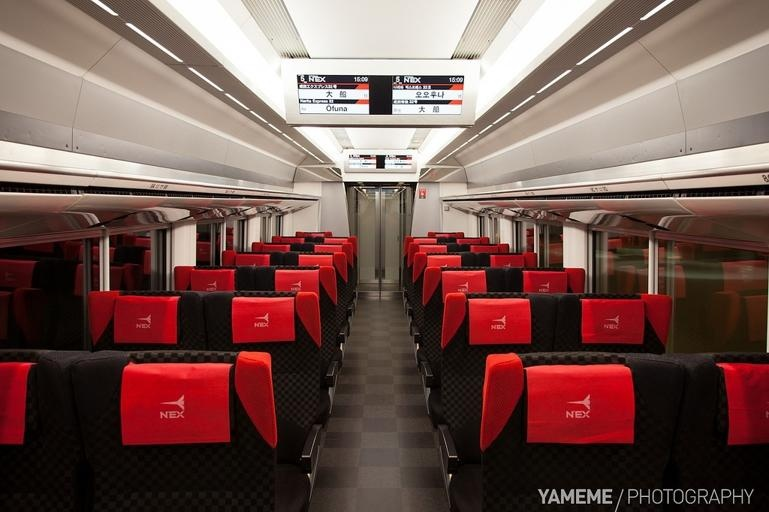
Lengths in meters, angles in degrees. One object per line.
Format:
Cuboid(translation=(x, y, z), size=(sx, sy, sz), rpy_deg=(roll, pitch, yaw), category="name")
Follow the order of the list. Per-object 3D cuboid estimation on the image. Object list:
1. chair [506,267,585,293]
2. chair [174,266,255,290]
Cuboid(translation=(2.062, 0.305, 5.833), size=(0.602, 0.507, 0.333), rpy_deg=(-1, -2, 2), category="chair")
Cuboid(translation=(-2.181, 0.280, 5.963), size=(0.905, 0.287, 0.341), rpy_deg=(-1, 14, -7), category="chair")
